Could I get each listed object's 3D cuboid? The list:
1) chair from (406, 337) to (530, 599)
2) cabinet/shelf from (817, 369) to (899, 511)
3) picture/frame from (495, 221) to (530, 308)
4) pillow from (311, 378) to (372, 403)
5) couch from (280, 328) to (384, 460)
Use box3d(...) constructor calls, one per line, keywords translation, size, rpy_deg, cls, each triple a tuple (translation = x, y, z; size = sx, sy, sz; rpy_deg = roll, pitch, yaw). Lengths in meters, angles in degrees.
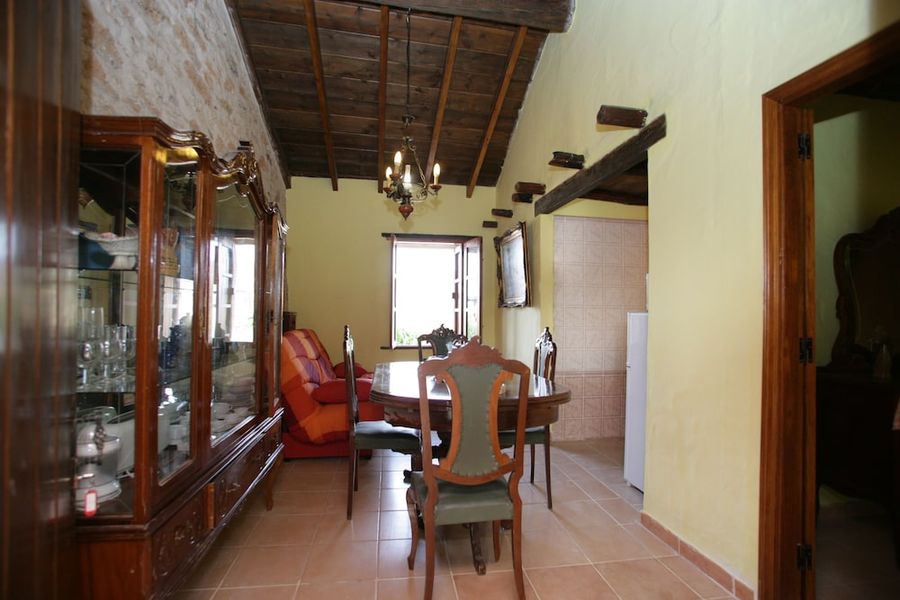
box3d(translation=(0.103, 0.997, 4.164), size=(0.802, 1.448, 0.630), rpy_deg=(-3, 0, 5), cls="chair")
box3d(translation=(2.594, 0.847, 4.277), size=(0.450, 0.690, 0.204), rpy_deg=(-3, 0, 34), cls="cabinet/shelf")
box3d(translation=(0.676, -0.372, 7.017), size=(0.046, 0.781, 0.984), rpy_deg=(-6, 10, 24), cls="picture/frame")
box3d(translation=(-0.984, 0.770, 5.787), size=(0.328, 0.137, 0.335), rpy_deg=(-1, 7, -5), cls="pillow")
box3d(translation=(-1.117, 0.810, 6.468), size=(0.781, 1.054, 1.697), rpy_deg=(-3, 3, -5), cls="couch")
